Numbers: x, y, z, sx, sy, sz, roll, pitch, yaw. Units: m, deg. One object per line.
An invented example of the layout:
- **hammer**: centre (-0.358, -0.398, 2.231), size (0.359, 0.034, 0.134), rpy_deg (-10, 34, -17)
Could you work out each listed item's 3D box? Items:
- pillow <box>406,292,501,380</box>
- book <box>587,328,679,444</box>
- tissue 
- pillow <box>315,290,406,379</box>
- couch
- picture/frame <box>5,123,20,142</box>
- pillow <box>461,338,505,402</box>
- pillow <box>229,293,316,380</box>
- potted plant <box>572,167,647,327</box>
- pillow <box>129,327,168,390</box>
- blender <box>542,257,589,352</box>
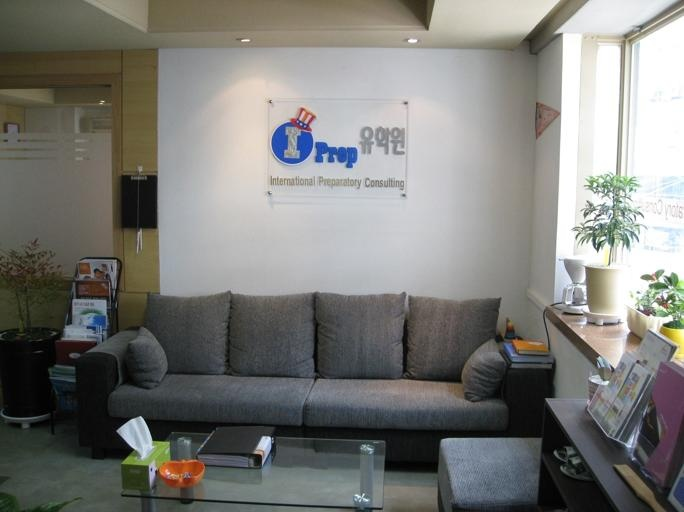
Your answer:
- **pillow**: centre (0.870, 0.647, 4.457), size (0.759, 0.824, 0.309), rpy_deg (-2, 19, -11)
- **book**: centre (1.419, 0.649, 2.617), size (0.182, 0.563, 0.411), rpy_deg (17, 8, 2)
- **tissue **: centre (-1.172, 1.147, 3.175), size (0.254, 0.371, 0.292), rpy_deg (-2, 7, -10)
- **pillow**: centre (0.139, 0.660, 4.351), size (0.568, 0.588, 0.222), rpy_deg (0, -13, 1)
- **couch**: centre (-0.241, 0.964, 4.369), size (3.337, 1.210, 1.063), rpy_deg (1, 0, 5)
- **picture/frame**: centre (-3.029, -1.120, 4.921), size (0.133, 0.170, 0.031), rpy_deg (1, 7, 12)
- **pillow**: centre (1.084, 0.870, 4.104), size (0.267, 0.357, 0.501), rpy_deg (8, 5, 8)
- **pillow**: centre (-0.591, 0.648, 4.478), size (0.731, 0.776, 0.289), rpy_deg (2, 11, -4)
- **potted plant**: centre (1.842, -0.069, 3.740), size (0.442, 1.003, 0.562), rpy_deg (3, 7, 27)
- **pillow**: centre (-1.531, 0.801, 4.272), size (0.263, 0.371, 0.491), rpy_deg (3, 10, -12)
- **blender**: centre (1.742, 0.343, 3.989), size (0.440, 0.675, 0.453), rpy_deg (3, -2, -40)
